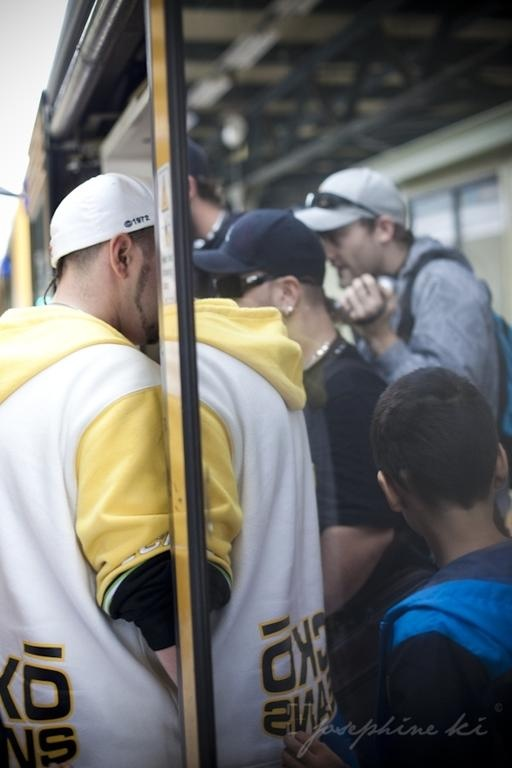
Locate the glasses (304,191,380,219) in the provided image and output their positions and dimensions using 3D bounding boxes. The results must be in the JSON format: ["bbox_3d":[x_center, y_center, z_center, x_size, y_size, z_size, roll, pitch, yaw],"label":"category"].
[{"bbox_3d":[0.132,-0.288,1.448,0.065,0.014,0.049,10,-5,-1],"label":"glasses"}]

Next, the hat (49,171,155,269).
[{"bbox_3d":[-0.292,-0.319,1.774,0.203,0.104,0.146,-19,13,-22],"label":"hat"}]

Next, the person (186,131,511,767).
[{"bbox_3d":[0.103,0.146,1.471,0.180,0.840,0.327,-7,-4,37],"label":"person"}]

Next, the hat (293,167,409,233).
[{"bbox_3d":[0.154,-0.298,1.495,0.159,0.074,0.098,3,3,-10],"label":"hat"}]
